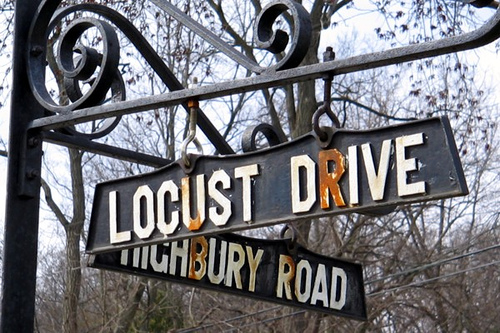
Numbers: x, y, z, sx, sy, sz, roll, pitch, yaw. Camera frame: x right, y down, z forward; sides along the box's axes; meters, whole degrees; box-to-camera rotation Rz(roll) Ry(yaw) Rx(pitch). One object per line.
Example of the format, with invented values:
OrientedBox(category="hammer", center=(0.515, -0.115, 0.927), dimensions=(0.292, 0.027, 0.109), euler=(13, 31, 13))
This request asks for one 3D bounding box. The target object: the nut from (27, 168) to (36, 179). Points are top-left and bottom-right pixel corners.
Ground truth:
OrientedBox(category="nut", center=(-2.770, 0.069, 14.094), dimensions=(0.089, 0.139, 0.113), euler=(6, -4, 29))

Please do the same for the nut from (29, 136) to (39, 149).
OrientedBox(category="nut", center=(-2.722, -0.315, 14.122), dimensions=(0.105, 0.123, 0.108), euler=(-3, -15, 31))

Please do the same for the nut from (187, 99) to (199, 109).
OrientedBox(category="nut", center=(-0.688, -0.776, 13.751), dimensions=(0.107, 0.126, 0.101), euler=(0, 5, -14))
